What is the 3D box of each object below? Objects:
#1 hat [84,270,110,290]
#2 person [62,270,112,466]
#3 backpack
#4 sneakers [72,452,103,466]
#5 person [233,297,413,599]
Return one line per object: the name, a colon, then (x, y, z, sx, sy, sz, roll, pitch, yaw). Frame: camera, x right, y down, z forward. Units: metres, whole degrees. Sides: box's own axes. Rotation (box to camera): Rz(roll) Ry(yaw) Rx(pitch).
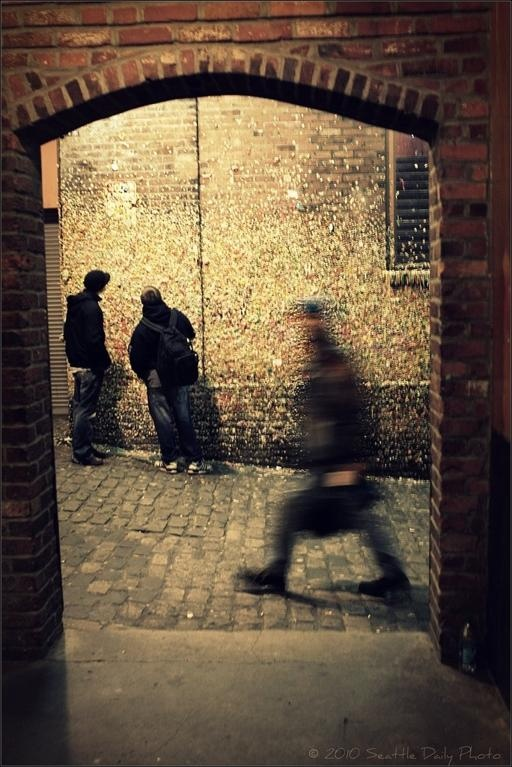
hat: (-1.465, -0.944, 6.747, 0.135, 0.187, 0.240, 5, 10, 29)
person: (-1.557, -0.123, 6.773, 0.408, 1.817, 0.372, 0, 7, 2)
backpack: (-0.745, -0.299, 6.363, 0.464, 0.676, 0.240, -2, 8, -14)
sneakers: (-1.598, 0.708, 6.977, 0.252, 0.152, 0.125, -2, 18, -10)
person: (0.447, 0.369, 4.648, 1.027, 1.838, 1.427, -1, 8, -9)
